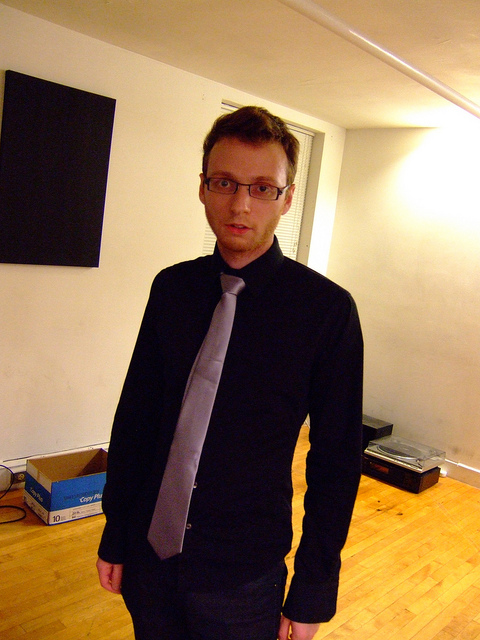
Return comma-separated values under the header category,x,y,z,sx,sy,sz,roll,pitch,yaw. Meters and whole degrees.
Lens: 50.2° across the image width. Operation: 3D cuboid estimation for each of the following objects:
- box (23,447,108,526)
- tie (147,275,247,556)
category,x,y,z,sx,sy,sz,roll,pitch,yaw
box,-1.007,0.963,2.980,0.459,0.306,0.461,5,7,-23
tie,-0.067,0.118,0.993,0.104,0.617,0.064,13,-7,-1
